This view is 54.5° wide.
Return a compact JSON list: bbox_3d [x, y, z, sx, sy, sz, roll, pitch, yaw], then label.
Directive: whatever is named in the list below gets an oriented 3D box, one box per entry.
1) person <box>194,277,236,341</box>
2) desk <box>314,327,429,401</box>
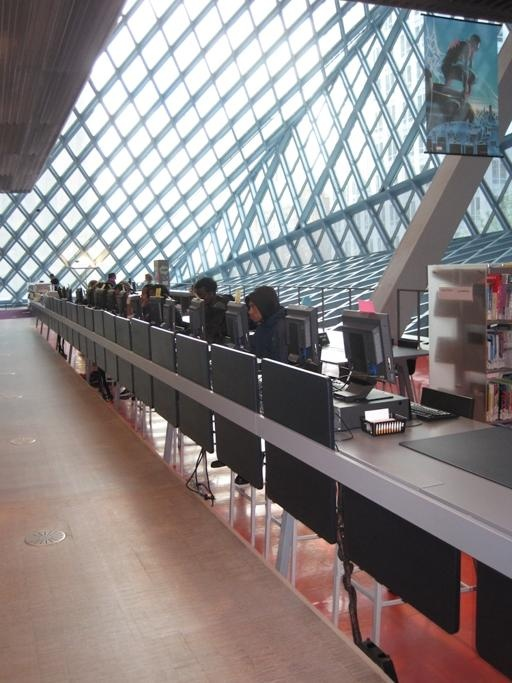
[{"bbox_3d":[-0.482,-0.336,5.308,0.397,0.708,1.265,-1,2,-5],"label":"person"},{"bbox_3d":[0.849,0.159,3.559,0.602,0.490,0.957,-1,7,-28],"label":"desk"}]
